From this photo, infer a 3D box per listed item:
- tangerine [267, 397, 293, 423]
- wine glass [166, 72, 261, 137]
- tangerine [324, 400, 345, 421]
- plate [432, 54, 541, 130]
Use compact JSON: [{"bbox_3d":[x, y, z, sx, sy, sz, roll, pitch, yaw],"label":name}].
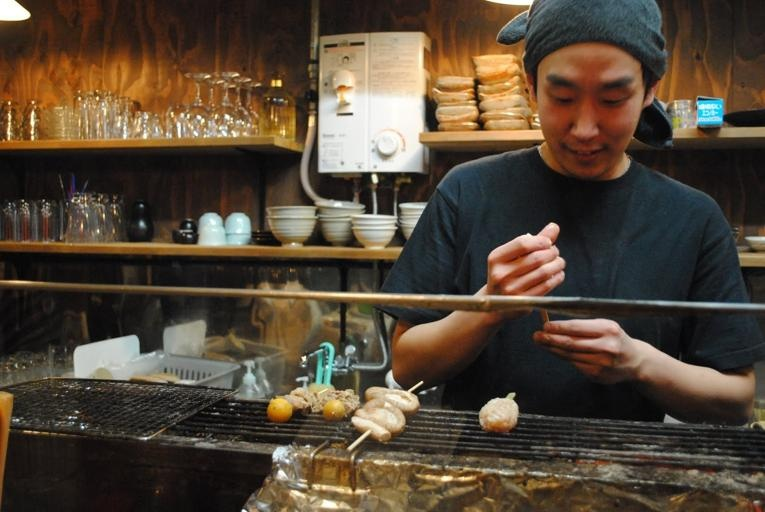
[{"bbox_3d":[-0.269,0.396,1.804,0.056,0.056,0.058,-16,9,-40],"label":"tangerine"},{"bbox_3d":[-0.838,-0.745,3.576,0.519,0.340,0.352,2,7,13],"label":"wine glass"},{"bbox_3d":[-0.127,0.401,1.783,0.044,0.042,0.043,-14,-28,-2],"label":"tangerine"},{"bbox_3d":[0.462,-0.699,3.145,0.423,0.218,0.424,1,2,21],"label":"plate"}]
